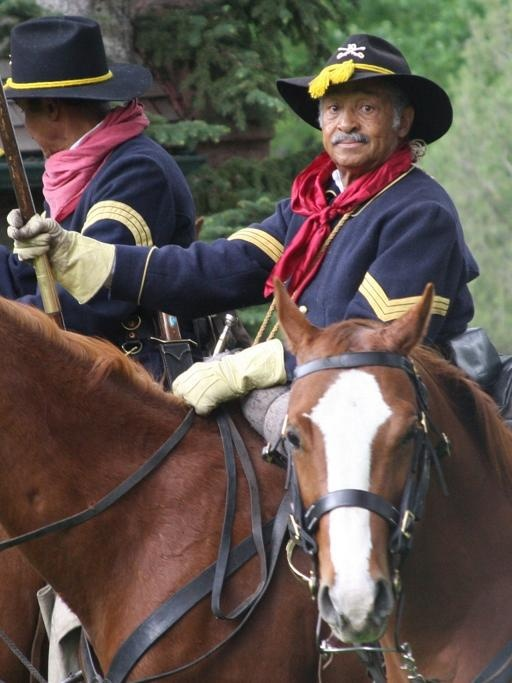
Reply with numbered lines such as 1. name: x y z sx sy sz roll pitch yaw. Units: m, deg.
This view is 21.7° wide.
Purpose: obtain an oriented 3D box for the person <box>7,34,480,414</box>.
1. person: 0.031 -0.323 4.515 1.599 1.596 1.060 -1 0 -26

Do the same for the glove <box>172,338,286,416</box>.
1. glove: -0.065 0.093 3.846 0.309 0.110 0.201 -13 10 7

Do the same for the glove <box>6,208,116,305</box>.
1. glove: -0.601 -0.265 4.173 0.221 0.359 0.155 -31 69 7

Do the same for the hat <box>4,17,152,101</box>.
1. hat: -0.674 -0.973 4.756 0.422 0.158 0.415 -1 8 3

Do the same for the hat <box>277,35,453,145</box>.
1. hat: 0.404 -0.705 4.059 0.412 0.442 0.156 -6 63 33
